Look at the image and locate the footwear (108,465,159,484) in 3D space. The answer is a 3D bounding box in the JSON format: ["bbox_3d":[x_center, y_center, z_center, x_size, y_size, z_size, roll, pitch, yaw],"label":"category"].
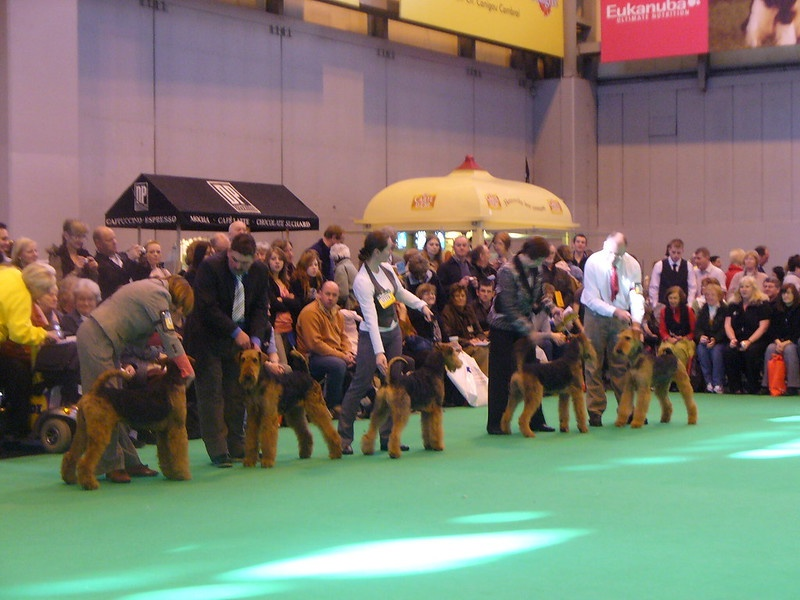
[{"bbox_3d":[-2.400,1.555,7.374,0.407,0.201,0.149,-13,-5,10],"label":"footwear"}]

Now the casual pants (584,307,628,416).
[{"bbox_3d":[2.514,0.747,9.937,0.494,1.365,0.407,-2,13,3],"label":"casual pants"}]

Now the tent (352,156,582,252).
[{"bbox_3d":[1.663,-2.243,19.196,5.011,2.309,4.552,-2,4,-40],"label":"tent"}]

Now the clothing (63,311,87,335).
[{"bbox_3d":[-3.409,0.247,8.620,0.180,0.273,0.133,6,-16,-37],"label":"clothing"}]

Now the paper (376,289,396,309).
[{"bbox_3d":[-0.115,0.000,8.276,0.090,0.175,0.266,2,3,34],"label":"paper"}]

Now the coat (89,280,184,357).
[{"bbox_3d":[-2.335,0.127,7.326,0.568,0.611,1.006,17,5,-30],"label":"coat"}]

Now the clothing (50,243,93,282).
[{"bbox_3d":[-4.094,-0.451,10.223,0.344,0.562,0.440,-20,-12,30],"label":"clothing"}]

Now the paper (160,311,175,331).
[{"bbox_3d":[-2.062,0.184,7.273,0.036,0.128,0.113,-28,-28,34],"label":"paper"}]
